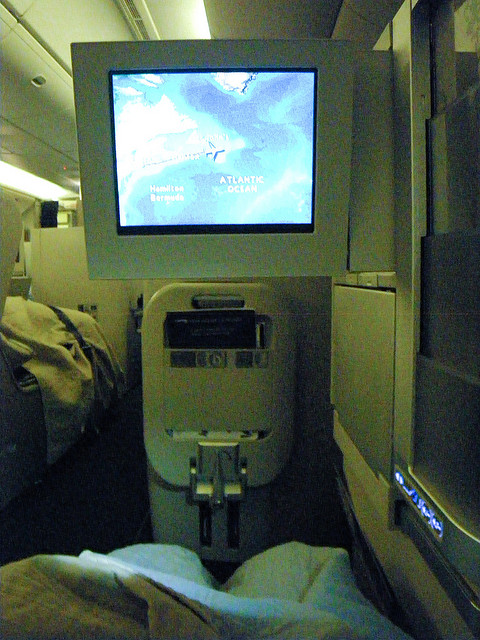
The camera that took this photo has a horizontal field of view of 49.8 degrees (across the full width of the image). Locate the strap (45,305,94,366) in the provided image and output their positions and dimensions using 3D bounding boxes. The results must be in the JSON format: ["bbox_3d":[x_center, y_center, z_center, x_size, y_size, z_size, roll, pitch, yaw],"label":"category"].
[{"bbox_3d":[-0.812,0.088,2.474,0.044,0.271,0.211,-18,-3,-5],"label":"strap"}]

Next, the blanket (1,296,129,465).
[{"bbox_3d":[-0.755,0.260,2.232,0.318,0.665,0.844,1,10,-7],"label":"blanket"}]
